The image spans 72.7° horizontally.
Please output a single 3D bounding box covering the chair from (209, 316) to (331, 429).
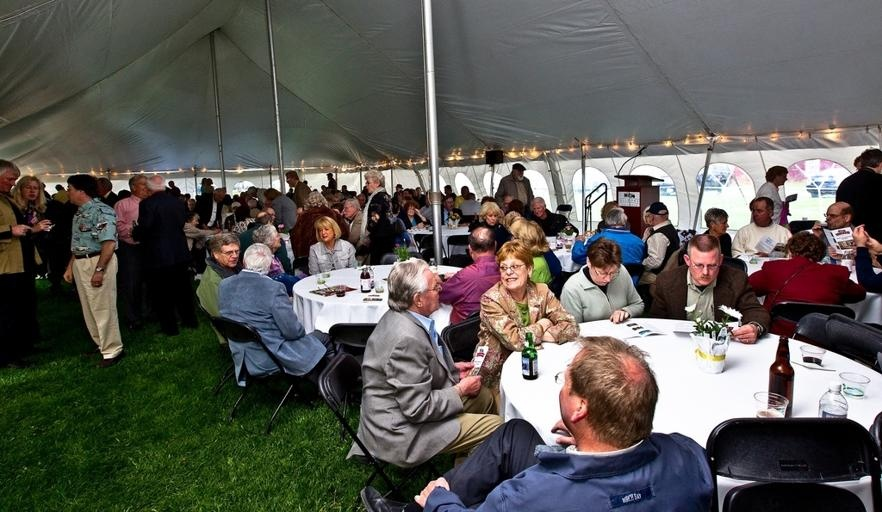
[{"bbox_3d":[-2.326,1.431,7.709,1.086,1.422,0.897,-1,5,-8],"label":"chair"}]

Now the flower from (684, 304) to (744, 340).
[{"bbox_3d":[2.787,0.733,6.231,0.456,0.260,0.430,-5,-12,-2],"label":"flower"}]

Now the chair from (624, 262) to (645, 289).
[{"bbox_3d":[2.762,0.256,8.582,0.258,0.437,0.319,1,44,16],"label":"chair"}]

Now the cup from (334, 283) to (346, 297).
[{"bbox_3d":[-1.364,0.475,8.054,0.144,0.139,0.126,-5,3,2],"label":"cup"}]

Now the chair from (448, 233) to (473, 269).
[{"bbox_3d":[0.317,0.079,10.096,0.474,0.697,0.510,0,-36,-1],"label":"chair"}]

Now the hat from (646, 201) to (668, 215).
[{"bbox_3d":[3.422,-0.761,9.471,0.185,0.134,0.263,5,8,5],"label":"hat"}]

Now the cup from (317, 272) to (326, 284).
[{"bbox_3d":[-1.688,0.321,8.469,0.141,0.108,0.128,-6,-4,39],"label":"cup"}]

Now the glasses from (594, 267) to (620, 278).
[{"bbox_3d":[1.935,0.214,7.047,0.265,0.181,0.163,-2,5,-17],"label":"glasses"}]

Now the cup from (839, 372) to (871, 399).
[{"bbox_3d":[4.055,1.265,5.880,0.258,0.181,0.269,-1,2,0],"label":"cup"}]

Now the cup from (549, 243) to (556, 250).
[{"bbox_3d":[1.913,-0.171,10.334,0.132,0.127,0.131,-3,9,0],"label":"cup"}]

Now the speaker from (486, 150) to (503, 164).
[{"bbox_3d":[1.505,-2.760,16.774,0.526,0.510,0.382,2,6,6],"label":"speaker"}]

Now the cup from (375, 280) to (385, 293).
[{"bbox_3d":[-0.828,0.423,8.169,0.158,0.152,0.146,-1,4,0],"label":"cup"}]

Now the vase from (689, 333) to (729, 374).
[{"bbox_3d":[2.836,0.999,6.250,0.392,0.419,0.420,1,-2,-28],"label":"vase"}]

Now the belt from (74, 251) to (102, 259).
[{"bbox_3d":[-5.043,-0.011,8.532,0.341,0.085,0.045,-1,5,-3],"label":"belt"}]

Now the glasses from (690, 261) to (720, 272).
[{"bbox_3d":[3.005,0.132,6.835,0.274,0.100,0.078,1,5,19],"label":"glasses"}]

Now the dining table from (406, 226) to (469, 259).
[{"bbox_3d":[-0.015,-0.347,12.128,0.750,0.528,0.991,-2,7,-5],"label":"dining table"}]

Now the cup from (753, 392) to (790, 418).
[{"bbox_3d":[3.139,1.412,5.739,0.285,0.223,0.263,0,3,0],"label":"cup"}]

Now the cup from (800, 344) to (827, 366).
[{"bbox_3d":[3.848,1.013,6.217,0.209,0.148,0.198,-2,3,0],"label":"cup"}]
